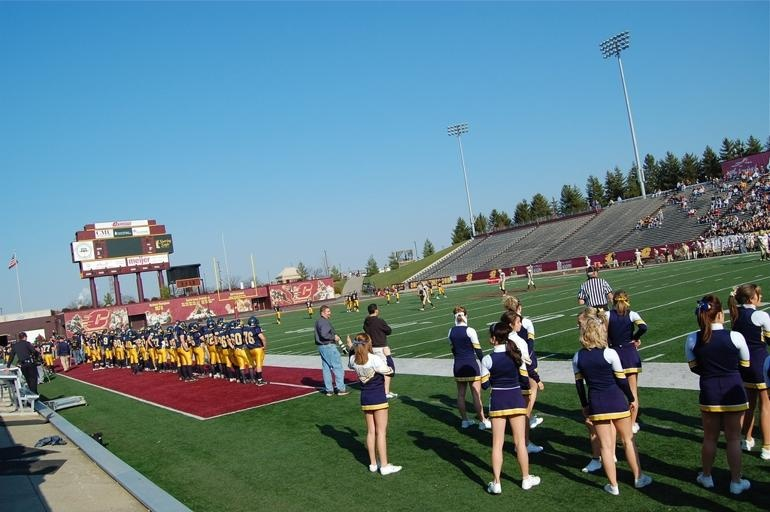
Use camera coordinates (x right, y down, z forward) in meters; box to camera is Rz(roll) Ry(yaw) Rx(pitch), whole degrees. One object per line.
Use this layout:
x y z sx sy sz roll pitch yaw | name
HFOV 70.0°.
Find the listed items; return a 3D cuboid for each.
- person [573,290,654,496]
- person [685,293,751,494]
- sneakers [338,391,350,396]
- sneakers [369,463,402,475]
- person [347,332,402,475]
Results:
3.510 2.267 8.599 0.860 2.850 0.904 -9 0 22 | person
5.032 2.053 8.191 0.841 3.008 0.446 -9 0 21 | person
-1.108 3.694 14.784 0.355 0.145 0.119 -6 -2 31 | sneakers
0.007 3.784 9.732 0.423 0.151 0.236 -1 -3 -6 | sneakers
-0.183 2.621 9.898 0.689 2.519 0.662 -9 0 -5 | person
